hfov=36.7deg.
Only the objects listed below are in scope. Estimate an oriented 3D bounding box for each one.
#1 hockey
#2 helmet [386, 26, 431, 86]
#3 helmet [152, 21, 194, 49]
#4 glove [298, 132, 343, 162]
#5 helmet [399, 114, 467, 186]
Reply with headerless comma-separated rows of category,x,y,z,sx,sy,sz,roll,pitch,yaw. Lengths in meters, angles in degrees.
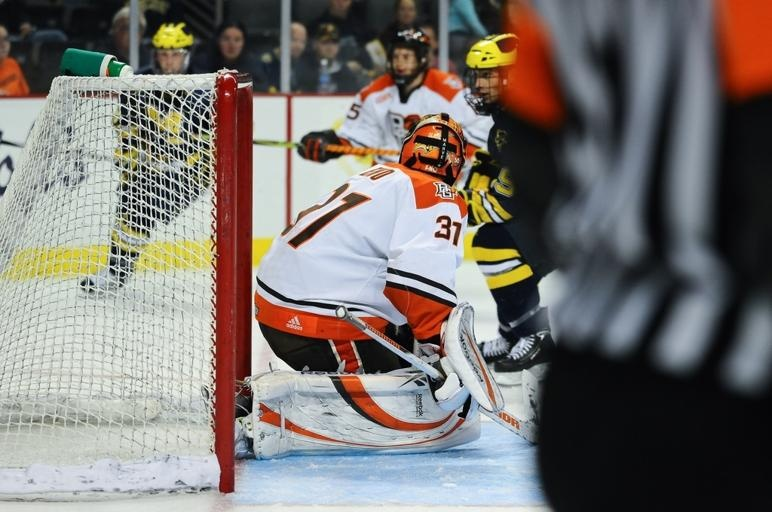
hockey,0.169,0.406,3.863,0.668,0.507,0.290,2,12,6
helmet,0.167,-1.161,6.714,0.269,0.333,0.317,1,-1,23
helmet,-1.455,-1.469,7.752,0.227,0.251,0.278,4,20,11
glove,-0.367,-0.607,6.471,0.244,0.081,0.178,-5,9,-4
helmet,0.170,-0.390,4.172,0.223,0.227,0.271,14,9,-5
